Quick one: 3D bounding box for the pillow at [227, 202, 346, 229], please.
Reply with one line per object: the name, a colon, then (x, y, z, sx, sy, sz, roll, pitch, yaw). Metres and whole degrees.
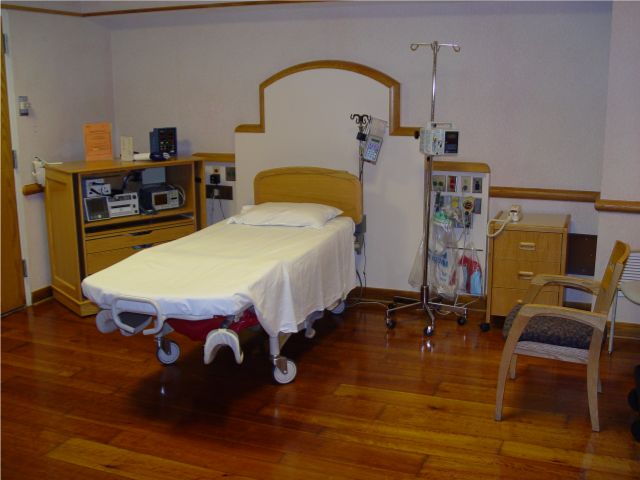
pillow: (-0.328, -0.208, 4.287, 0.586, 0.108, 0.395, 2, 18, 14)

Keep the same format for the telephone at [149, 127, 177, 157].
telephone: (-1.530, -0.932, 5.112, 0.219, 0.294, 0.223, -3, -13, -14)

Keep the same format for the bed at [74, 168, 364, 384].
bed: (-0.605, 0.270, 3.994, 1.272, 1.386, 2.349, 7, 16, 24)

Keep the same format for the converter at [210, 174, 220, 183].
converter: (-1.100, -0.642, 5.409, 0.105, 0.110, 0.079, 7, 19, 22)

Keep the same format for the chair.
chair: (1.504, 0.555, 3.267, 0.751, 1.029, 0.831, 0, 10, 13)

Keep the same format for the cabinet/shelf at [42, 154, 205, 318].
cabinet/shelf: (-1.814, -0.144, 4.984, 0.721, 1.273, 1.323, 17, 22, 41)

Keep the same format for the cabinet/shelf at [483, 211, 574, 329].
cabinet/shelf: (1.753, 0.233, 4.394, 0.681, 0.942, 0.631, 8, 24, 31)
